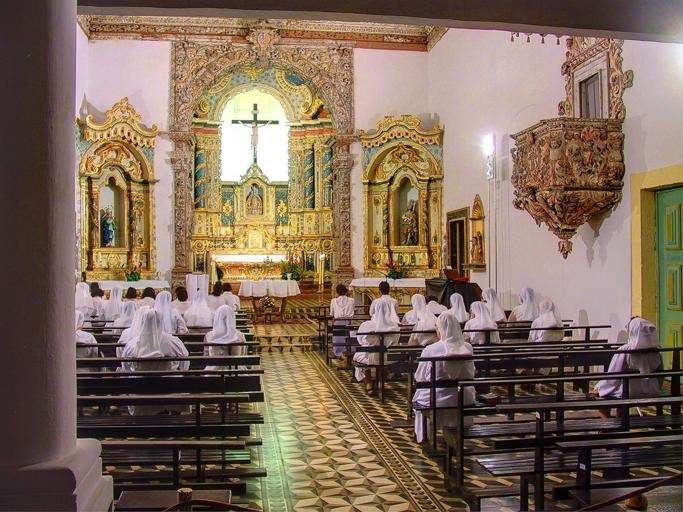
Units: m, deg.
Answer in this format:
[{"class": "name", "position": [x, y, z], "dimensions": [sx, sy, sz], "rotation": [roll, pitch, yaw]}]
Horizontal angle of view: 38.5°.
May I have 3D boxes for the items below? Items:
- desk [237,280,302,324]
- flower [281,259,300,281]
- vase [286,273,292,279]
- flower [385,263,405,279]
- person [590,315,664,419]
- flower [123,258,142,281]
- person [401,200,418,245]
[{"class": "desk", "position": [-1.441, 0.742, 20.078], "dimensions": [1.215, 0.741, 0.867], "rotation": [0, 8, -5]}, {"class": "flower", "position": [-1.156, 0.335, 22.301], "dimensions": [0.520, 0.528, 0.408], "rotation": [7, -36, -13]}, {"class": "vase", "position": [-1.162, 0.452, 21.593], "dimensions": [0.129, 0.105, 0.133], "rotation": [-3, 40, -4]}, {"class": "flower", "position": [1.143, 0.322, 20.611], "dimensions": [0.336, 0.226, 0.341], "rotation": [1, 1, 2]}, {"class": "person", "position": [3.247, 1.298, 10.904], "dimensions": [0.854, 1.253, 0.749], "rotation": [3, 10, 2]}, {"class": "flower", "position": [-4.287, 0.273, 20.033], "dimensions": [0.491, 0.472, 0.416], "rotation": [1, 1, -7]}, {"class": "person", "position": [1.501, -0.751, 22.099], "dimensions": [0.216, 0.904, 0.477], "rotation": [-1, -1, -44]}]
